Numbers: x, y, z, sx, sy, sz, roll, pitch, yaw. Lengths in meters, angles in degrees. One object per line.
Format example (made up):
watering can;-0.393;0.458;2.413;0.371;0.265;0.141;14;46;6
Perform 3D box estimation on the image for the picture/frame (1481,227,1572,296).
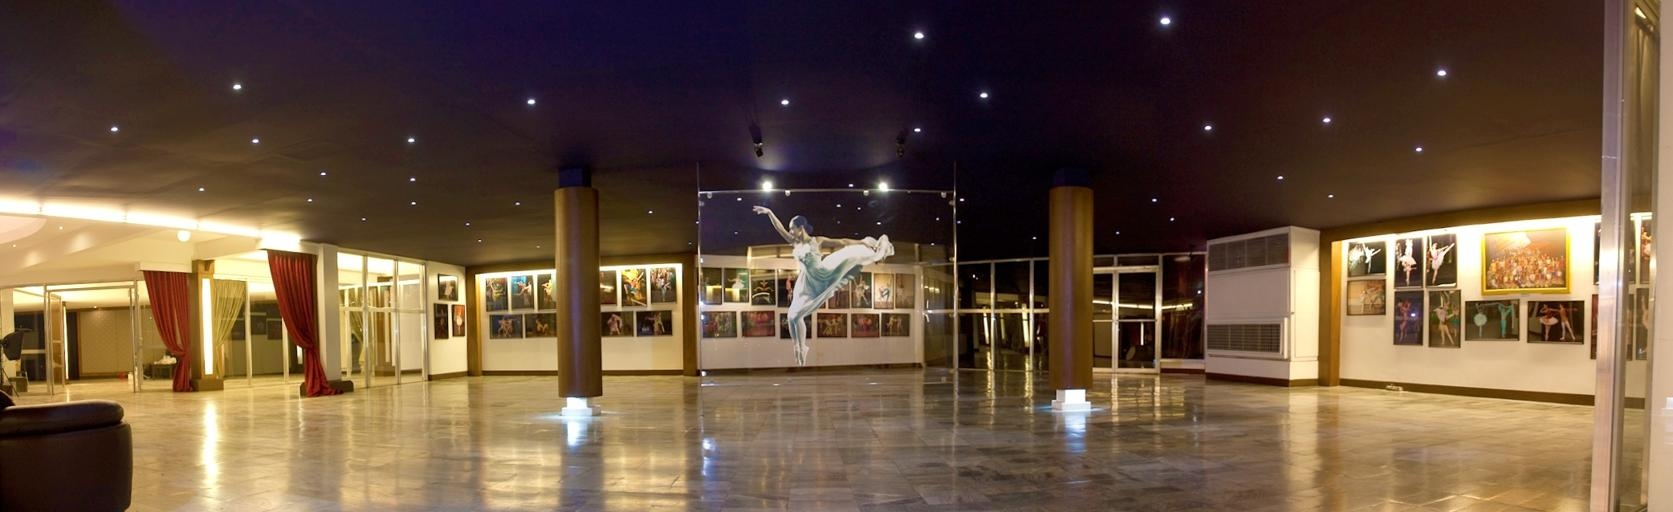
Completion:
picture/frame;31.846;0.267;38.721;3.301;2.975;0.450;-5;-10;15
